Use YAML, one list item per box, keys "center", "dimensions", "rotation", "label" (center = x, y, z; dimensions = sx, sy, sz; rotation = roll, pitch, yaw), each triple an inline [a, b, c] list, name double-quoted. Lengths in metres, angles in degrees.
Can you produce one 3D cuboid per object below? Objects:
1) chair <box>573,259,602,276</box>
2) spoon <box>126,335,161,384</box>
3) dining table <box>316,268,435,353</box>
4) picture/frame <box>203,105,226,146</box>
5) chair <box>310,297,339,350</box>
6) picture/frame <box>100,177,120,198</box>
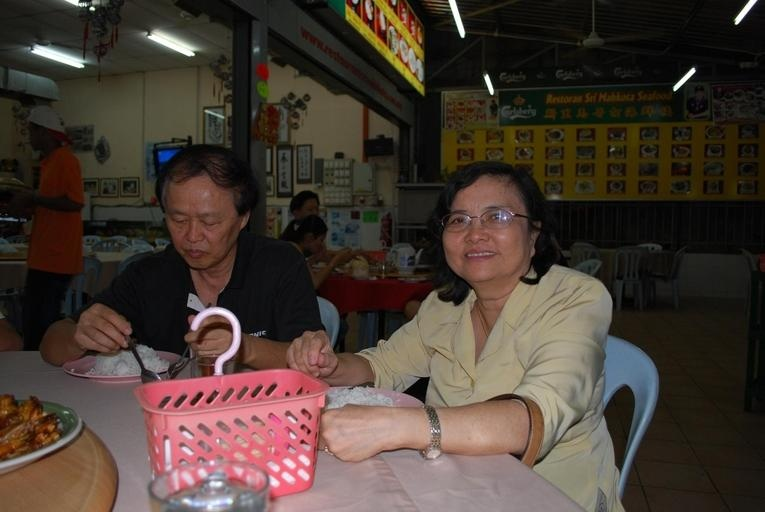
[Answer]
- center: [2.328, 0.136, 6.042]
  dimensions: [0.220, 0.302, 0.225]
  rotation: [5, 1, -21]
  label: "chair"
- center: [-0.888, 0.390, 2.050]
  dimensions: [0.118, 0.196, 0.069]
  rotation: [-28, -12, 27]
  label: "spoon"
- center: [-0.085, 0.398, 4.637]
  dimensions: [0.720, 0.740, 0.751]
  rotation: [1, -2, 2]
  label: "dining table"
- center: [-3.150, -2.466, 10.147]
  dimensions: [0.331, 0.727, 0.736]
  rotation: [-7, 10, -40]
  label: "picture/frame"
- center: [-0.270, 0.353, 2.781]
  dimensions: [0.206, 0.287, 0.213]
  rotation: [0, 0, 10]
  label: "chair"
- center: [-5.470, -1.381, 10.820]
  dimensions: [0.400, 0.429, 0.029]
  rotation: [0, 7, 9]
  label: "picture/frame"
